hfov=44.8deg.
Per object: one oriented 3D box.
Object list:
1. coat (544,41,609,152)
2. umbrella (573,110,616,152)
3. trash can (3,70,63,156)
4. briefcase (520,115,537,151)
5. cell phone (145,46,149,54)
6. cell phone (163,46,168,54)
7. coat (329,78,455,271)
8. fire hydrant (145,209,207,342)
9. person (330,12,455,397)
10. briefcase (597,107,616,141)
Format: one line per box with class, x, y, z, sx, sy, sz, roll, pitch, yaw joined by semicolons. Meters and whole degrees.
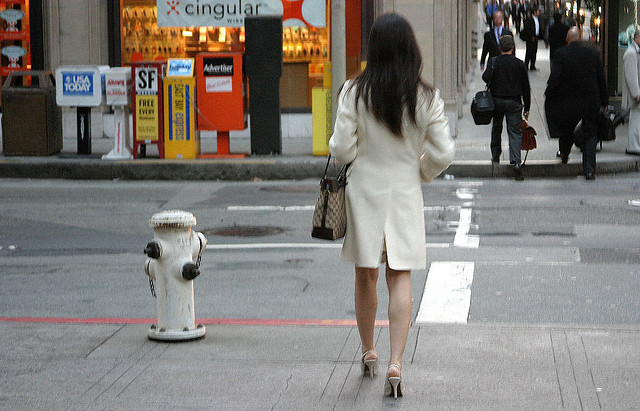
coat;5.018;-2.124;15.040;1.081;2.768;1.085;5;31;20
umbrella;5.286;-1.455;15.072;0.614;0.401;0.666;-10;-28;-11
trash can;-6.219;-1.958;16.796;1.243;1.840;0.793;-5;9;-23
briefcase;4.041;-1.449;15.216;0.259;0.548;0.646;-11;21;9
cell phone;-4.560;-4.078;20.579;0.103;0.165;0.032;-3;8;-12
cell phone;-4.067;-4.084;20.524;0.123;0.196;0.035;1;8;15
coat;0.612;-0.289;6.820;0.981;2.644;0.793;6;30;5
fire hydrant;-1.380;0.675;7.470;0.563;1.208;0.339;-3;8;-12
person;0.637;-0.093;6.818;0.929;3.109;1.186;4;10;32
briefcase;5.556;-1.581;15.169;0.255;0.721;0.481;-3;11;6
